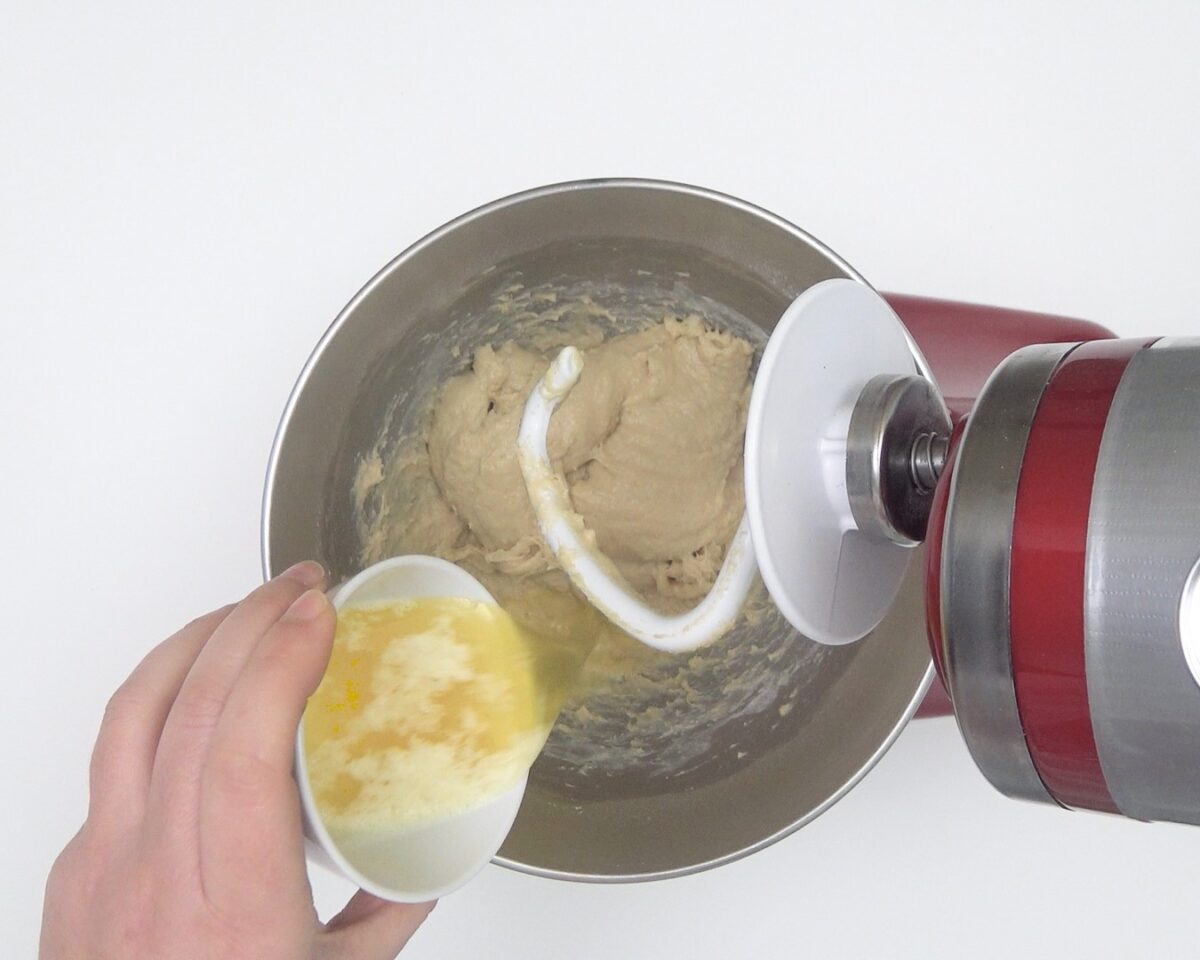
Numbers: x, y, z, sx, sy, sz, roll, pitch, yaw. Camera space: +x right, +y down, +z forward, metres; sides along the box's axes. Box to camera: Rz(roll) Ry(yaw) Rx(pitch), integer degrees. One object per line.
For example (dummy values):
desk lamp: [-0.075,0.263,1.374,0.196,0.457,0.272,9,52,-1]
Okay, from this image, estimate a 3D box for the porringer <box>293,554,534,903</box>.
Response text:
porringer: [-0.221,0.284,1.492,0.337,0.390,0.092,-3,-17,-45]
